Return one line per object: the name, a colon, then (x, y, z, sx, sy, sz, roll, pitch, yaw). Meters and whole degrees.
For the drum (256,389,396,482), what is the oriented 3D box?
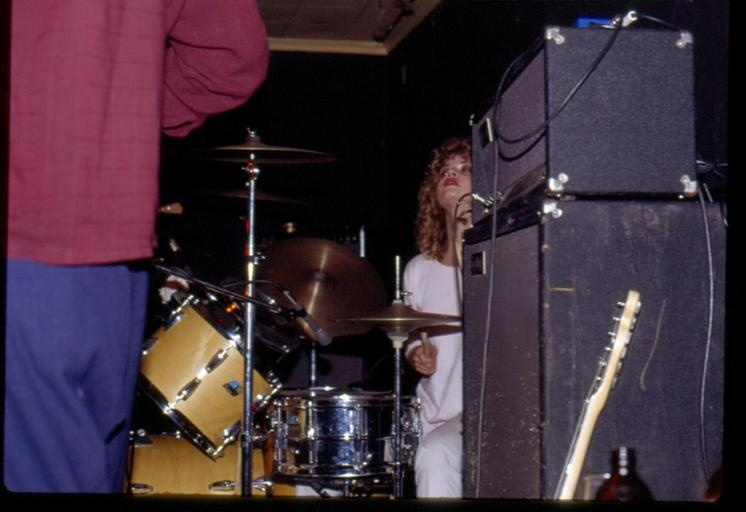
drum: (-0.153, 0.694, 3.983, 0.390, 0.226, 0.376, 0, -9, 0)

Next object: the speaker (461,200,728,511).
speaker: (0.674, 0.315, 3.331, 0.795, 1.301, 0.761, 4, -6, -16)

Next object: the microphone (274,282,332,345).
microphone: (-0.296, 0.237, 4.232, 0.067, 0.344, 0.068, -46, -5, 21)

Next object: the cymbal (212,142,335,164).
cymbal: (-0.471, -0.445, 4.571, 0.246, 0.054, 0.238, 3, -3, -35)

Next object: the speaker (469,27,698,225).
speaker: (0.576, -0.384, 2.887, 0.419, 0.402, 0.787, -1, 4, -11)

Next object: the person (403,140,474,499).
person: (0.268, 0.223, 4.221, 0.362, 1.128, 0.746, 4, -9, -3)
